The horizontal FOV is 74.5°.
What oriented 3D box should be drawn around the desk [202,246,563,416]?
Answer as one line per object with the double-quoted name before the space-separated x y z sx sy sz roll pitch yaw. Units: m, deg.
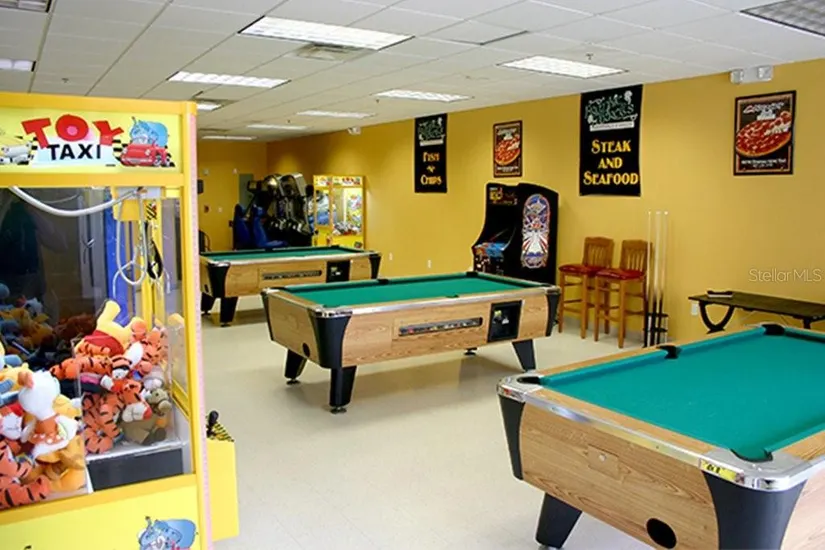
"desk" 0.005 0.606 5.528 2.597 1.012 1.323 -6 13 -28
